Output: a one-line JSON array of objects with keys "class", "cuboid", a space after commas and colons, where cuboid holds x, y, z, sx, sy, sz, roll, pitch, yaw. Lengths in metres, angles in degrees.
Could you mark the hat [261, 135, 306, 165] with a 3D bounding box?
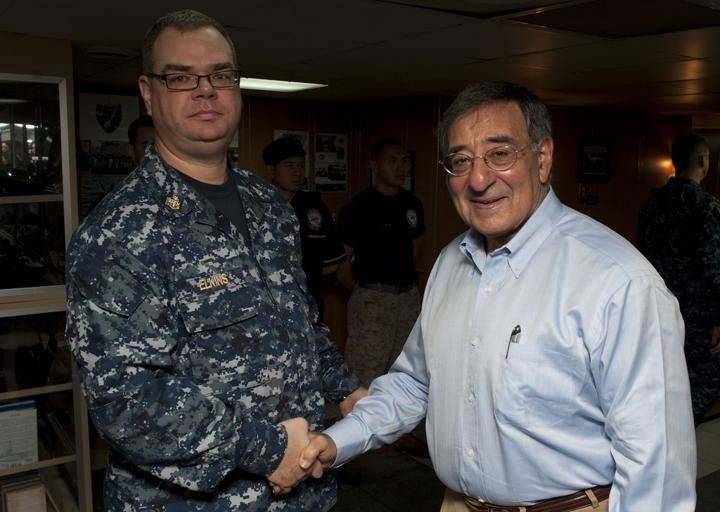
[{"class": "hat", "cuboid": [-0.589, -0.823, 4.505, 0.308, 0.255, 0.253, -2, 8, 27]}]
